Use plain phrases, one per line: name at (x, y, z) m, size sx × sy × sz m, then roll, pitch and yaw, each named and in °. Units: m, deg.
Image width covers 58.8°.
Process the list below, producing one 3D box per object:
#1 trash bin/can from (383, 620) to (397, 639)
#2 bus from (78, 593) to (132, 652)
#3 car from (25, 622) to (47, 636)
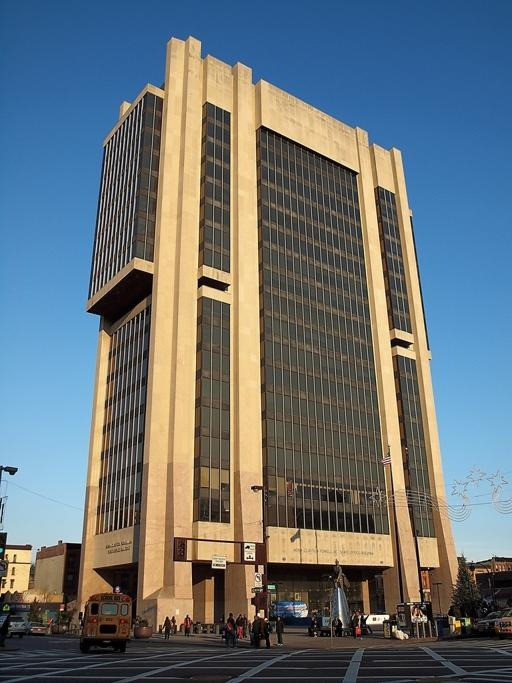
trash bin/can at (9.186, 19.761, 31.242) m, size 0.900 × 0.942 × 1.601 m, roll -10°, pitch -28°, yaw 13°
bus at (-7.327, 14.193, 22.970) m, size 1.816 × 2.843 × 4.227 m, roll 5°, pitch -29°, yaw -14°
car at (-22.336, 29.193, 46.193) m, size 1.696 × 1.125 × 3.828 m, roll 10°, pitch -32°, yaw -26°
